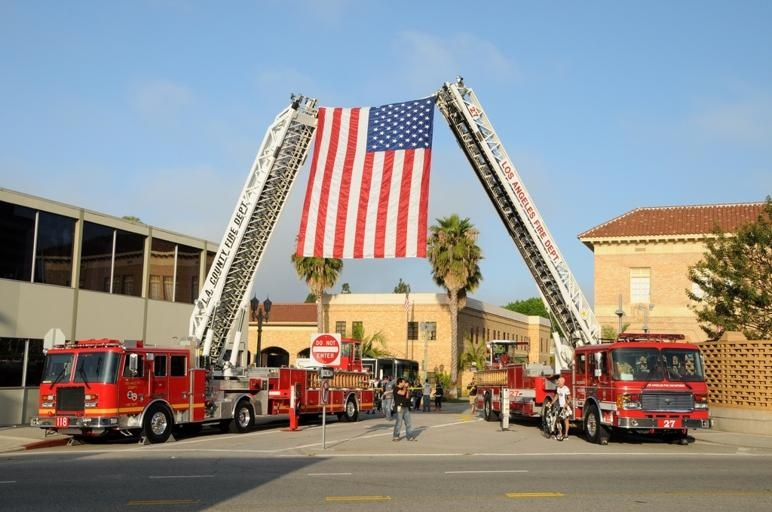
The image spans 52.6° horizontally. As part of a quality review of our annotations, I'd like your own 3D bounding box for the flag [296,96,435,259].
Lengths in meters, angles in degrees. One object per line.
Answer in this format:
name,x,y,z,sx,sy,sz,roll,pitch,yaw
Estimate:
flag,-0.852,-2.812,31.110,7.294,8.720,0.590,0,-16,9
